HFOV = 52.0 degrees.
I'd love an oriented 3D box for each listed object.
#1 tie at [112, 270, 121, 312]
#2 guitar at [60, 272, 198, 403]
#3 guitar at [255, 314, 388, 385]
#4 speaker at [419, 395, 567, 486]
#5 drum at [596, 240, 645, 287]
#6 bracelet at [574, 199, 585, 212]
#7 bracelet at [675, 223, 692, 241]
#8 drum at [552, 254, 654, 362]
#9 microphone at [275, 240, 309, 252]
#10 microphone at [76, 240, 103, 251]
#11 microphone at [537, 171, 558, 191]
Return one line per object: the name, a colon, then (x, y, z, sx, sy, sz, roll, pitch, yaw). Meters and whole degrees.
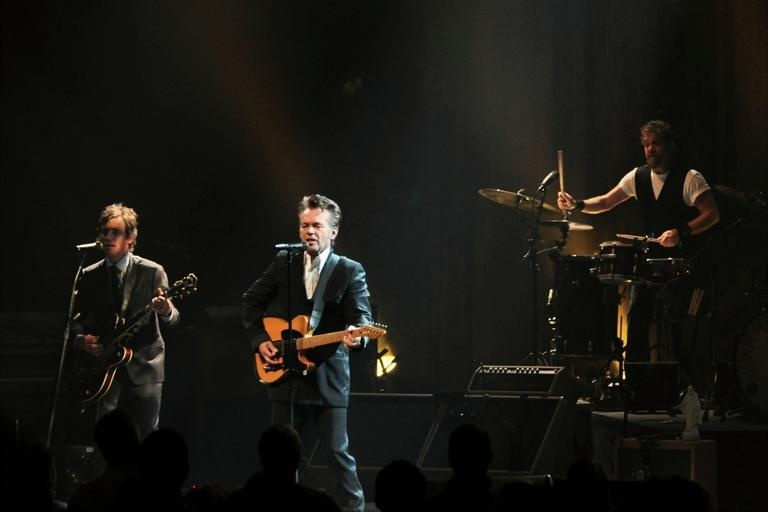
tie: (-2.646, 0.320, 7.789, 0.132, 0.339, 0.048, -4, -5, 3)
guitar: (-2.544, 0.832, 7.795, 0.206, 1.510, 0.595, 38, 10, -47)
guitar: (-0.609, 0.803, 6.705, 1.027, 0.591, 0.379, 3, -12, 3)
speaker: (1.078, 1.567, 7.117, 1.023, 0.917, 0.248, 12, -14, 17)
drum: (2.586, 0.076, 8.427, 0.529, 0.406, 0.563, 5, -3, 0)
bracelet: (2.227, -0.582, 8.950, 0.096, 0.129, 0.132, 2, -4, 25)
bracelet: (3.176, -0.260, 8.400, 0.170, 0.155, 0.158, -2, 2, -17)
drum: (2.265, 0.588, 8.781, 1.091, 1.160, 0.809, 1, -2, 7)
microphone: (-0.743, -0.082, 6.839, 0.410, 0.115, 0.115, -4, 6, -40)
microphone: (-3.027, -0.111, 8.095, 0.291, 0.098, 0.094, -5, 11, -27)
microphone: (1.904, -0.892, 9.194, 0.104, 0.128, 0.422, 20, -39, -3)
